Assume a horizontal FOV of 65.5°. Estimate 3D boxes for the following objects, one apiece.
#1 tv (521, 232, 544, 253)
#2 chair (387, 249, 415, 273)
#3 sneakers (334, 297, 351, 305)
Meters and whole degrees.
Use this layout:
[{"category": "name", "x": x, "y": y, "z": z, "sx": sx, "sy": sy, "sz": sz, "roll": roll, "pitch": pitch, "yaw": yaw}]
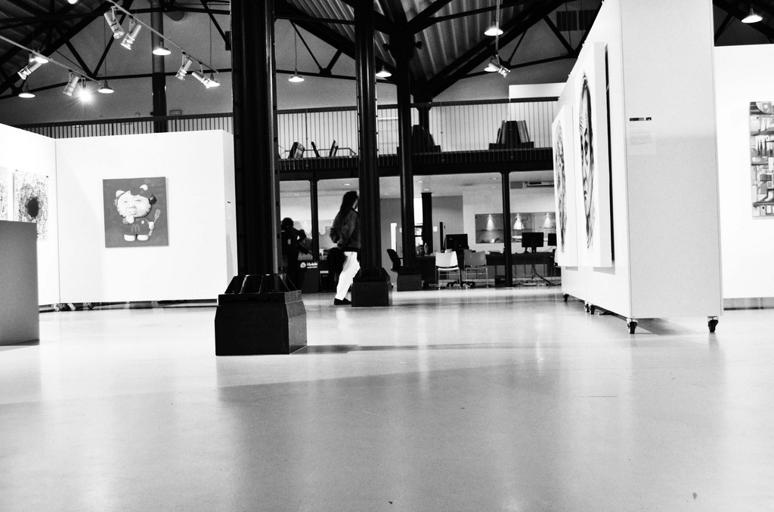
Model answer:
[{"category": "tv", "x": 4.405, "y": -0.441, "z": 18.184, "sx": 0.575, "sy": 0.671, "sz": 0.203, "roll": 1, "pitch": 10, "yaw": 10}, {"category": "chair", "x": 0.398, "y": 0.128, "z": 15.491, "sx": 0.615, "sy": 0.781, "sz": 0.564, "roll": -1, "pitch": 2, "yaw": 7}, {"category": "sneakers", "x": -0.799, "y": 0.800, "z": 10.754, "sx": 0.352, "sy": 0.162, "sz": 0.127, "roll": 0, "pitch": 1, "yaw": -3}]
